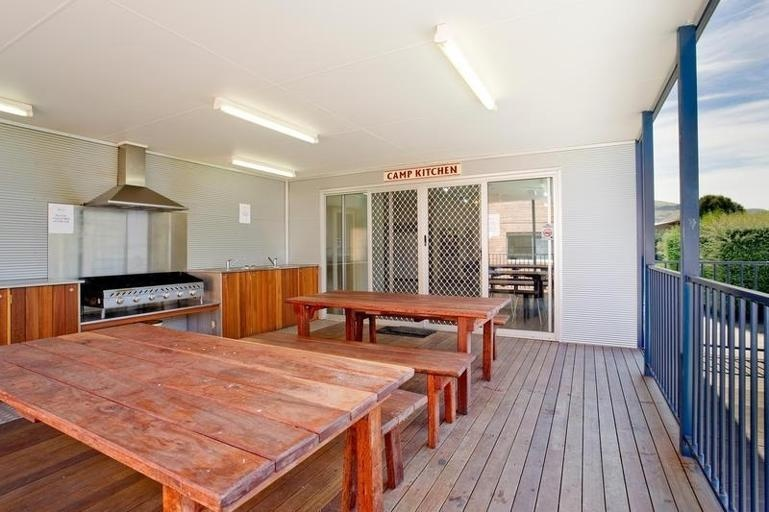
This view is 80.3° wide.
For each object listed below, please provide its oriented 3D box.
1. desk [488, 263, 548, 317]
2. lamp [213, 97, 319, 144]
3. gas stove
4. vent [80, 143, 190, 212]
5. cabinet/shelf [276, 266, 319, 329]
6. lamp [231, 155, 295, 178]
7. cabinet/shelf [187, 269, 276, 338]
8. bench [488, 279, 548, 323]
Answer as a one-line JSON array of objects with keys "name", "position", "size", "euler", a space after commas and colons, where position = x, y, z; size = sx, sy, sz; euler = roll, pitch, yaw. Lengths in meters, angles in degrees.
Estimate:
[{"name": "desk", "position": [2.264, 0.439, 7.611], "size": [1.088, 0.885, 0.801], "euler": [3, 6, 29]}, {"name": "lamp", "position": [-1.466, -1.707, 5.773], "size": [0.192, 0.326, 1.513], "euler": [-2, 1, 34]}, {"name": "gas stove", "position": [-3.509, 0.552, 6.596], "size": [0.721, 0.616, 1.598], "euler": [-1, 1, 35]}, {"name": "vent", "position": [-3.750, -1.147, 6.881], "size": [1.442, 0.996, 1.312], "euler": [-1, 8, -28]}, {"name": "cabinet/shelf", "position": [-1.512, 0.728, 7.688], "size": [0.470, 0.998, 1.185], "euler": [-4, -4, 25]}, {"name": "lamp", "position": [-2.257, -1.545, 8.140], "size": [0.730, 0.211, 1.468], "euler": [-1, 1, 33]}, {"name": "cabinet/shelf", "position": [-2.506, 0.783, 7.294], "size": [0.522, 0.958, 1.213], "euler": [-2, -1, 24]}, {"name": "bench", "position": [2.216, 0.709, 7.405], "size": [0.918, 0.759, 0.705], "euler": [1, 3, 30]}]
